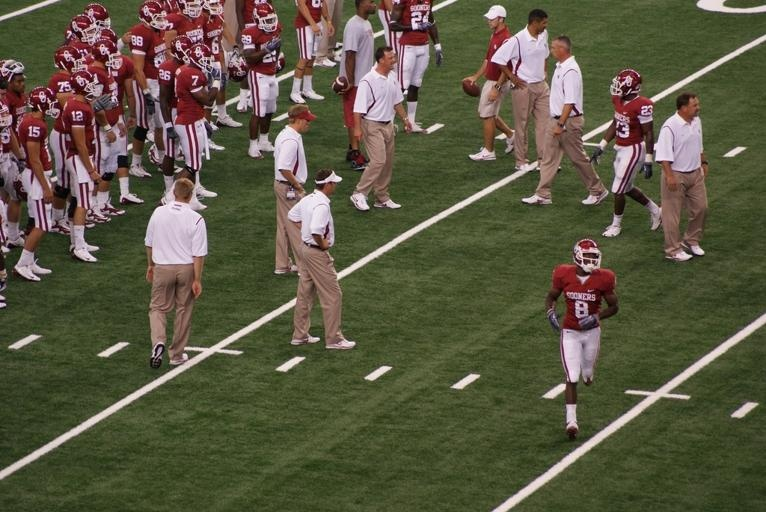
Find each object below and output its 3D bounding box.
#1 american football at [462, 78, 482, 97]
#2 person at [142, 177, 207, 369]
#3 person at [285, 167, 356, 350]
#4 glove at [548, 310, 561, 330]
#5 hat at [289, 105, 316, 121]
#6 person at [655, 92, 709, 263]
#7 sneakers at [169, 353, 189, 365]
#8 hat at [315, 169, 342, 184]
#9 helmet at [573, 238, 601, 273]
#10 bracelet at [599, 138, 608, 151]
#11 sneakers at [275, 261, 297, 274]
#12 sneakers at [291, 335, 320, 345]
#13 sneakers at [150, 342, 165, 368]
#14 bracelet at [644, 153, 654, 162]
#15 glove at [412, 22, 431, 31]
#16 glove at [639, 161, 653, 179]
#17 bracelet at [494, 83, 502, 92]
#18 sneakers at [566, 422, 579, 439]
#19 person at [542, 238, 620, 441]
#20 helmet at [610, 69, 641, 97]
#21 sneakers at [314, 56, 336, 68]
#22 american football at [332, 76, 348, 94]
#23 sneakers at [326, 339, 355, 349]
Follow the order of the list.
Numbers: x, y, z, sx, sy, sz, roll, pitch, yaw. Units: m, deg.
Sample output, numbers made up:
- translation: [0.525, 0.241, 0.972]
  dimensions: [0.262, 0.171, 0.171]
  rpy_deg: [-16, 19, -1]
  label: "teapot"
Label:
- translation: [1.483, -2.706, 19.632]
  dimensions: [0.353, 0.195, 0.238]
  rpy_deg: [27, -11, -10]
  label: "american football"
- translation: [-2.586, 0.239, 15.121]
  dimensions: [0.964, 2.271, 0.723]
  rpy_deg: [-12, 23, -15]
  label: "person"
- translation: [-0.836, 0.070, 15.397]
  dimensions: [0.823, 2.236, 0.785]
  rpy_deg: [-6, 22, -2]
  label: "person"
- translation: [1.984, 0.779, 14.033]
  dimensions: [0.069, 0.226, 0.202]
  rpy_deg: [-15, 16, 25]
  label: "glove"
- translation: [-1.051, -1.907, 16.242]
  dimensions: [0.339, 0.152, 0.203]
  rpy_deg: [-5, 19, -16]
  label: "hat"
- translation: [4.136, -1.064, 16.711]
  dimensions: [0.748, 2.281, 0.497]
  rpy_deg: [-16, 24, -23]
  label: "person"
- translation: [-2.539, 1.325, 15.288]
  dimensions: [0.260, 0.103, 0.110]
  rpy_deg: [-32, 51, -33]
  label: "sneakers"
- translation: [-0.642, -0.992, 15.334]
  dimensions: [0.178, 0.211, 0.360]
  rpy_deg: [11, 26, 36]
  label: "hat"
- translation: [2.390, -0.019, 14.148]
  dimensions: [0.326, 0.326, 0.396]
  rpy_deg: [-3, 10, -18]
  label: "helmet"
- translation: [3.187, -1.614, 17.632]
  dimensions: [0.143, 0.170, 0.176]
  rpy_deg: [1, -5, -3]
  label: "bracelet"
- translation: [-1.330, 0.167, 16.910]
  dimensions: [0.364, 0.146, 0.128]
  rpy_deg: [-8, 20, -42]
  label: "sneakers"
- translation: [-0.980, 1.097, 15.619]
  dimensions: [0.358, 0.145, 0.126]
  rpy_deg: [-5, 56, -10]
  label: "sneakers"
- translation: [-2.747, 1.262, 15.153]
  dimensions: [0.147, 0.350, 0.169]
  rpy_deg: [13, 9, -25]
  label: "sneakers"
- translation: [3.718, -1.371, 17.014]
  dimensions: [0.122, 0.110, 0.113]
  rpy_deg: [-9, 21, -23]
  label: "bracelet"
- translation: [0.673, -3.800, 20.130]
  dimensions: [0.386, 0.174, 0.120]
  rpy_deg: [-17, 24, -30]
  label: "glove"
- translation: [3.805, -1.248, 17.602]
  dimensions: [0.139, 0.305, 0.249]
  rpy_deg: [-4, -3, 26]
  label: "glove"
- translation: [1.814, -2.640, 19.053]
  dimensions: [0.121, 0.042, 0.108]
  rpy_deg: [0, 50, -2]
  label: "bracelet"
- translation: [2.156, 2.004, 13.976]
  dimensions: [0.171, 0.184, 0.172]
  rpy_deg: [3, 21, 0]
  label: "sneakers"
- translation: [2.221, 0.938, 14.117]
  dimensions: [0.691, 2.161, 1.003]
  rpy_deg: [8, 25, 30]
  label: "person"
- translation: [3.414, -2.437, 17.052]
  dimensions: [0.494, 0.348, 0.326]
  rpy_deg: [9, 43, 13]
  label: "helmet"
- translation: [-1.048, -3.576, 22.423]
  dimensions: [0.371, 0.135, 0.174]
  rpy_deg: [0, 33, 2]
  label: "sneakers"
- translation: [-0.630, -2.687, 19.053]
  dimensions: [0.286, 0.248, 0.267]
  rpy_deg: [2, 13, -21]
  label: "american football"
- translation: [-0.530, 1.139, 15.511]
  dimensions: [0.363, 0.133, 0.136]
  rpy_deg: [-1, 12, 2]
  label: "sneakers"
